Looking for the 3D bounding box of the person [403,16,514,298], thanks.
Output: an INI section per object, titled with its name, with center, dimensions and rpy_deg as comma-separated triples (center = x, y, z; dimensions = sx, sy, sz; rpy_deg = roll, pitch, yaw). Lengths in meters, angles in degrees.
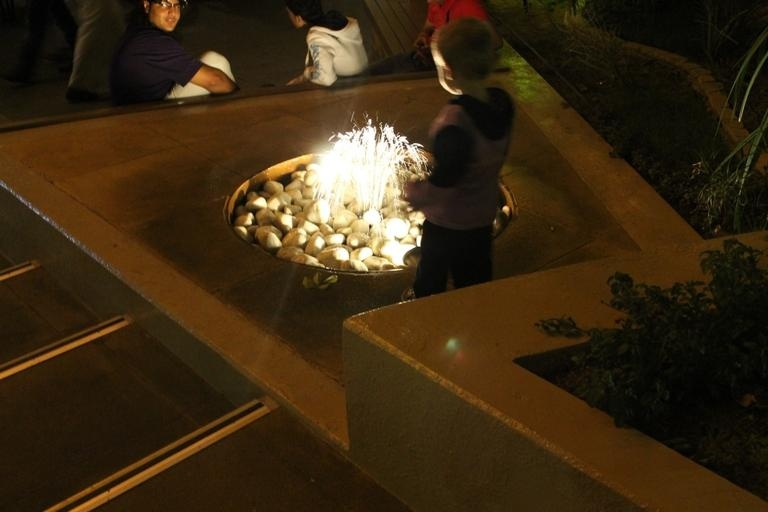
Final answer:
[person]
center = 0.386, -0.431, 2.872
dimensions = 0.491, 1.385, 0.456
rpy_deg = 9, 35, 10
